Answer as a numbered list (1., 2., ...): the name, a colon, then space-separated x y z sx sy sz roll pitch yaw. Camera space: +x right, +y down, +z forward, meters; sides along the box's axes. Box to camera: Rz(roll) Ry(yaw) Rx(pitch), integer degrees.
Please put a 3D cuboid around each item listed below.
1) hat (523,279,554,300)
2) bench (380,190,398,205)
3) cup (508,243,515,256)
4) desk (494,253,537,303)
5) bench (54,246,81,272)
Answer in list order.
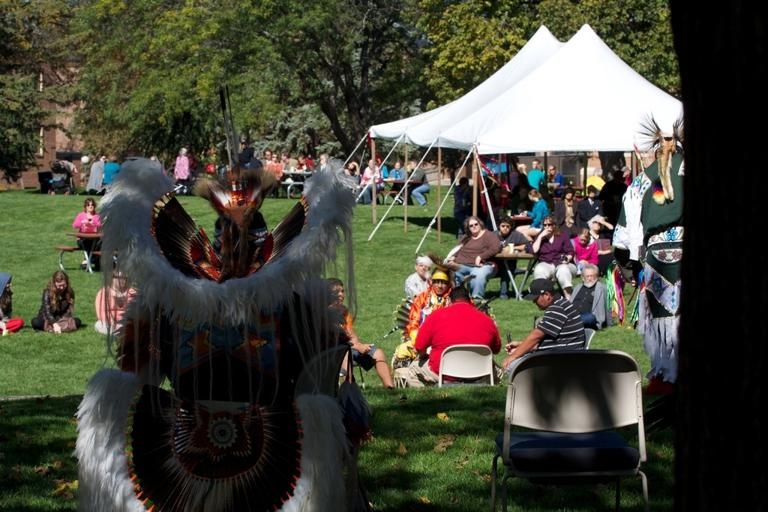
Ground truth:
1. hat: 1.864 0.407 12.688 0.350 0.232 0.281 -9 10 25
2. bench: 0.082 -1.514 27.246 0.365 0.597 0.387 0 -3 -18
3. cup: 1.881 -0.104 15.351 0.102 0.235 0.131 1 -13 -9
4. desk: 1.957 0.299 15.796 0.580 0.719 1.576 3 -4 9
5. bench: -5.528 -0.010 18.285 0.435 0.633 0.566 0 5 -5
